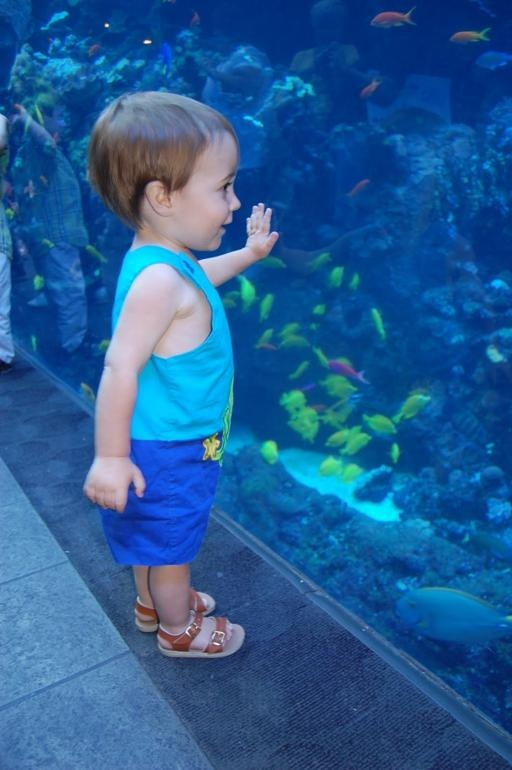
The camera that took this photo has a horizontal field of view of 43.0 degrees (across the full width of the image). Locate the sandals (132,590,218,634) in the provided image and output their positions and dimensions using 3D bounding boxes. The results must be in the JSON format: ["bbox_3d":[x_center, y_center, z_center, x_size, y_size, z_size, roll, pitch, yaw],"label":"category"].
[{"bbox_3d":[-0.270,0.735,2.213,0.272,0.101,0.112,-11,19,-28],"label":"sandals"}]

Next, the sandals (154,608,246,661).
[{"bbox_3d":[-0.174,0.802,2.100,0.257,0.095,0.131,-2,20,-6],"label":"sandals"}]
